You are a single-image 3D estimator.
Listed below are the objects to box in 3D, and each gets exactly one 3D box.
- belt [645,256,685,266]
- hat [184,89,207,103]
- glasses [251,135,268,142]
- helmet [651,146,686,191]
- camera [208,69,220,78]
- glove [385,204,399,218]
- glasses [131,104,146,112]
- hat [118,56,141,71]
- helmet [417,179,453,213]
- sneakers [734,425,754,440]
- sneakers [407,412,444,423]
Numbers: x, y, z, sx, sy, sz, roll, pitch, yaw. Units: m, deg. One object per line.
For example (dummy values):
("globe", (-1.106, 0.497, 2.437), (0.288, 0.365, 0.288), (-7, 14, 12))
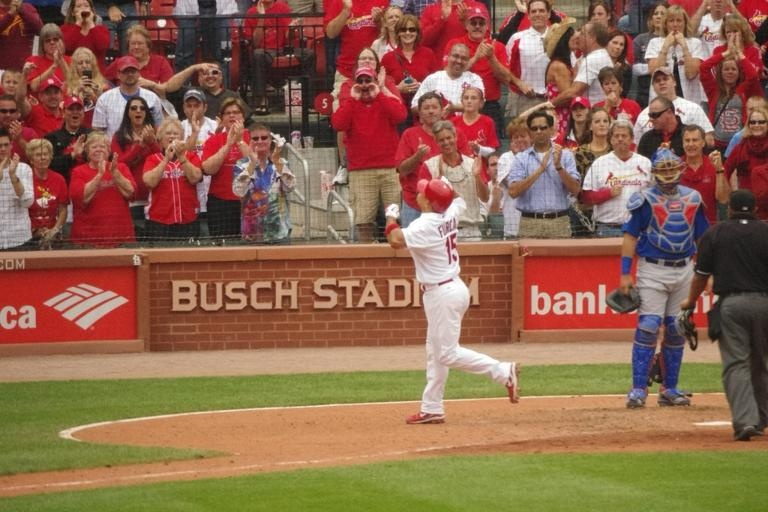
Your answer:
("belt", (4.005, 0.076, 23.534), (0.582, 0.129, 0.081), (0, 14, 4))
("hat", (-3.185, -2.667, 27.846), (0.349, 0.237, 0.608), (-2, 14, -4))
("glasses", (-2.016, -1.891, 26.996), (0.257, 0.086, 0.045), (-2, 14, -5))
("helmet", (4.013, -1.279, 23.688), (0.471, 0.561, 0.561), (-3, 34, 5))
("camera", (-2.906, -3.094, 28.290), (0.135, 0.137, 0.054), (-4, -37, -9))
("glove", (0.104, -0.635, 23.433), (0.086, 0.163, 0.262), (-30, 30, 36))
("glasses", (-4.077, -2.419, 27.380), (0.207, 0.115, 0.056), (-2, 14, -2))
("hat", (-4.310, -3.221, 27.967), (0.339, 0.221, 0.348), (-5, 15, -15))
("helmet", (0.722, -0.887, 23.194), (0.367, 0.510, 0.293), (-19, -20, -38))
("sneakers", (4.807, 2.338, 22.090), (0.133, 0.117, 0.293), (24, -41, -15))
("sneakers", (0.575, 2.230, 23.369), (0.536, 0.227, 0.189), (3, 2, 0))
